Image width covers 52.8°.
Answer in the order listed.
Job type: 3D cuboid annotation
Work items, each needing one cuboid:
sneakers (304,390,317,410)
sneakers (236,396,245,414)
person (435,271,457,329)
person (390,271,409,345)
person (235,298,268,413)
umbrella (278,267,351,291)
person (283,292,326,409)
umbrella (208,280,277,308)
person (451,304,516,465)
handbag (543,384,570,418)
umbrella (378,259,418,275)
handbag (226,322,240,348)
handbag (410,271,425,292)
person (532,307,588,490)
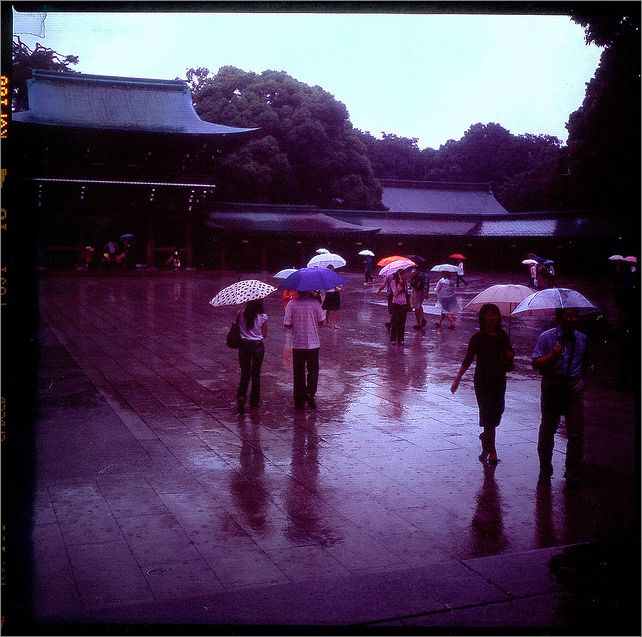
[{"bbox_3d":[-0.128,0.968,8.001,0.095,0.301,0.206,-7,22,6],"label":"sneakers"},{"bbox_3d":[-0.950,1.017,7.718,0.067,0.212,0.145,-1,-4,0],"label":"sneakers"},{"bbox_3d":[3.209,-0.525,16.312,0.519,1.420,2.346,2,6,11],"label":"person"},{"bbox_3d":[1.566,-0.290,13.009,0.488,1.575,0.465,10,-19,-16],"label":"person"},{"bbox_3d":[-0.851,0.417,7.863,0.363,1.371,0.517,0,6,-7],"label":"person"},{"bbox_3d":[-0.105,-0.481,7.917,0.617,0.303,0.718,3,7,23],"label":"umbrella"},{"bbox_3d":[-0.207,0.363,8.040,0.469,1.468,0.529,0,6,-2],"label":"person"},{"bbox_3d":[-0.941,-0.320,7.689,0.641,0.265,0.641,-2,7,-22],"label":"umbrella"},{"bbox_3d":[1.544,0.589,6.042,0.513,1.469,0.391,2,6,15],"label":"person"},{"bbox_3d":[2.012,0.677,5.489,0.255,0.365,0.203,1,-6,1],"label":"handbag"},{"bbox_3d":[1.579,-1.080,13.423,0.654,0.359,1.092,1,6,5],"label":"umbrella"},{"bbox_3d":[-1.069,0.197,7.936,0.156,0.367,0.574,0,6,-7],"label":"handbag"},{"bbox_3d":[2.394,-0.936,15.896,0.340,0.476,0.736,1,6,6],"label":"handbag"},{"bbox_3d":[2.069,0.637,5.588,0.440,1.487,0.533,3,6,23],"label":"person"}]
